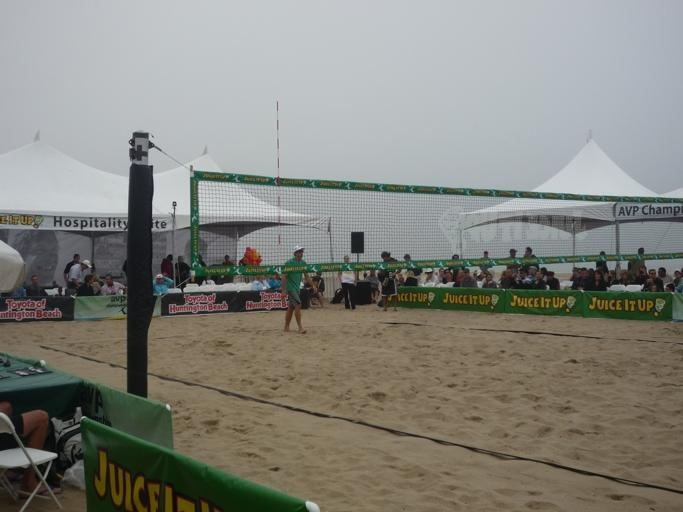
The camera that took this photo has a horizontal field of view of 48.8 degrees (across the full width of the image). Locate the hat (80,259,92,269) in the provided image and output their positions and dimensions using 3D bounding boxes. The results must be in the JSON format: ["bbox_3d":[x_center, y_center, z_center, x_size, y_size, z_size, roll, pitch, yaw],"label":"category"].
[{"bbox_3d":[-6.104,0.243,18.010,0.304,0.172,0.234,7,1,-7],"label":"hat"}]

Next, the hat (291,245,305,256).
[{"bbox_3d":[-0.775,-0.092,13.536,0.163,0.113,0.204,0,-15,-38],"label":"hat"}]

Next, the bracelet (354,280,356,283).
[{"bbox_3d":[0.363,0.697,19.359,0.044,0.051,0.192,5,1,9],"label":"bracelet"}]

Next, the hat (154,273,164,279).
[{"bbox_3d":[-4.201,0.511,17.542,0.176,0.106,0.263,-2,2,-4],"label":"hat"}]
